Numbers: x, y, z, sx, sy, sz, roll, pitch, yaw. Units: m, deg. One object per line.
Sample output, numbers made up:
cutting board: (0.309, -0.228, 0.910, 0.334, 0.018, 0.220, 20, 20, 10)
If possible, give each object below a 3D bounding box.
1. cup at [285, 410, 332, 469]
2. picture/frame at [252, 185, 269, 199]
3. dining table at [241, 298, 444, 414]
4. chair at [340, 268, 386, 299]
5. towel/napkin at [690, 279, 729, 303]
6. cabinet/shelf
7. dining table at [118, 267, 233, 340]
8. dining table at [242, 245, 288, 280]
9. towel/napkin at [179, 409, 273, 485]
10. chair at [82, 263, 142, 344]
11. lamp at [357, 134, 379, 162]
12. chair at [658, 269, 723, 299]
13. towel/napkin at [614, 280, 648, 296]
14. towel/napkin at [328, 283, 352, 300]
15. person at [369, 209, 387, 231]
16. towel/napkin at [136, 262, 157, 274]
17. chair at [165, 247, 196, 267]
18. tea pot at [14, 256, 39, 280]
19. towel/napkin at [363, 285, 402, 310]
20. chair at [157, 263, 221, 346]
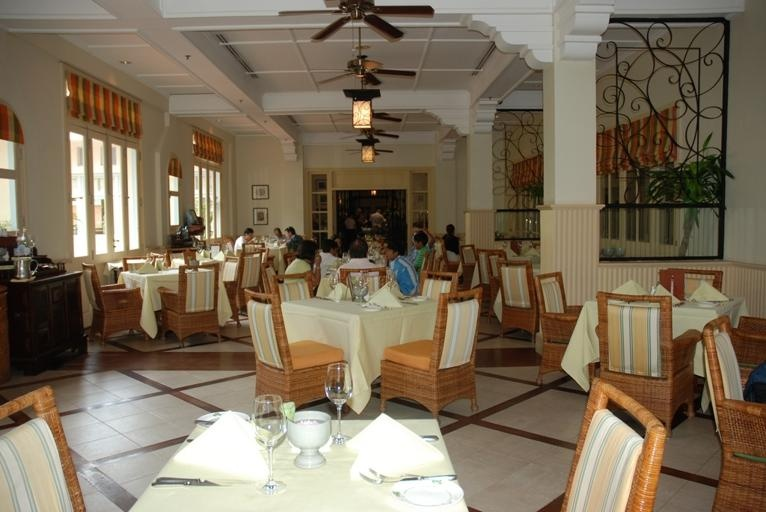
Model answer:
cup: (-0.322, 0.894, 2.528, 0.260, 0.277, 0.257, 1, -5, 0)
picture/frame: (-3.906, -2.073, 16.330, 0.439, 0.365, 0.035, -1, 4, 6)
dining table: (-0.240, 0.741, 5.360, 1.377, 0.716, 1.395, 2, 3, 44)
chair: (-0.211, 0.293, 6.070, 0.446, 0.335, 0.415, 1, -2, -19)
towel/napkin: (3.378, 0.383, 5.251, 0.260, 0.094, 0.255, -5, 8, -38)
cabinet/shelf: (-4.329, 0.862, 6.432, 0.456, 1.029, 1.199, -2, 4, 2)
dining table: (-3.136, 0.628, 7.918, 1.235, 0.706, 1.180, 0, -2, 45)
dining table: (-2.541, 0.011, 10.868, 1.050, 0.515, 1.053, 0, 0, 0)
towel/napkin: (-0.749, 0.945, 2.404, 0.341, 0.167, 0.331, 2, 1, 29)
chair: (-4.065, 0.599, 7.968, 1.058, 1.409, 1.176, -2, 6, -32)
lamp: (-0.296, -2.178, 10.103, 0.282, 0.542, 0.630, -1, 8, -3)
chair: (3.282, 0.274, 5.471, 0.592, 0.374, 0.598, -2, 5, -4)
towel/napkin: (2.516, 0.341, 5.120, 0.244, 0.107, 0.323, -1, -4, 29)
towel/napkin: (-0.484, 0.424, 5.758, 0.286, 0.272, 0.175, 1, 0, -10)
person: (-0.164, -1.253, 17.062, 0.512, 1.269, 0.398, -4, 14, -8)
towel/napkin: (-3.765, 0.204, 8.136, 0.207, 0.109, 0.291, 0, 1, -16)
chair: (-3.878, 0.027, 9.704, 0.410, 0.556, 0.420, 0, 1, -21)
tea pot: (-4.445, 0.163, 6.390, 0.343, 0.316, 0.213, 2, -2, -35)
towel/napkin: (0.012, 0.433, 5.299, 0.312, 0.105, 0.234, -1, 6, 27)
chair: (-2.859, 0.687, 7.508, 0.845, 1.155, 0.521, -3, 9, -15)
